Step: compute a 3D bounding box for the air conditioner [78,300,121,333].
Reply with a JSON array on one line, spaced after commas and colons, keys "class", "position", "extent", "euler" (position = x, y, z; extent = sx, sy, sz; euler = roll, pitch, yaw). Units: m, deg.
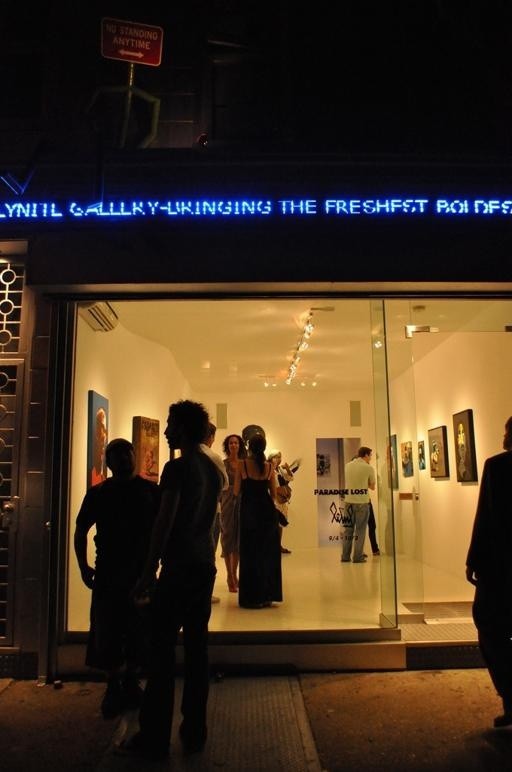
[{"class": "air conditioner", "position": [-1.107, -0.492, 4.347], "extent": [0.154, 0.184, 0.391], "euler": [-3, -10, 14]}]

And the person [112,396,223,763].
[{"class": "person", "position": [-0.323, 0.814, 2.682], "extent": [0.379, 1.537, 0.283], "euler": [4, -9, -27]}]
